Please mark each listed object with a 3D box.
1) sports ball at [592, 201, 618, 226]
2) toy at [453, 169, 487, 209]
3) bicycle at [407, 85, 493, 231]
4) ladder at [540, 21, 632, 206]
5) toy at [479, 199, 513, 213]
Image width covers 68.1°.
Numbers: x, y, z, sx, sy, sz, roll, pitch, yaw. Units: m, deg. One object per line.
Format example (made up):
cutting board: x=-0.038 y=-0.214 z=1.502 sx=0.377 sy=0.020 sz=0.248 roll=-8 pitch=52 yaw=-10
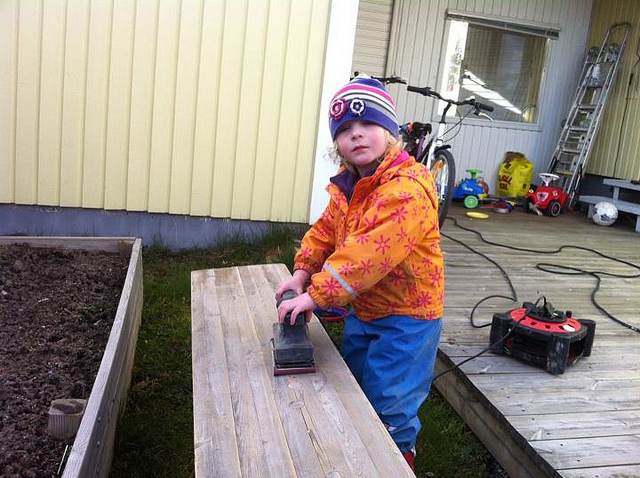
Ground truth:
sports ball: x=3.827 y=-0.350 z=6.345 sx=0.285 sy=0.298 sz=0.233 roll=12 pitch=19 yaw=22
toy: x=2.137 y=-0.761 z=7.113 sx=0.717 sy=0.619 sz=0.533 roll=3 pitch=7 yaw=34
bicycle: x=1.292 y=-0.846 z=5.071 sx=0.576 sy=1.463 sz=2.030 roll=4 pitch=13 yaw=-9
ladder: x=3.931 y=-1.996 z=7.038 sx=0.501 sy=3.073 sz=0.779 roll=-3 pitch=12 yaw=-21
toy: x=2.588 y=-0.474 z=6.826 sx=0.308 sy=0.145 sz=0.197 roll=-1 pitch=2 yaw=0
